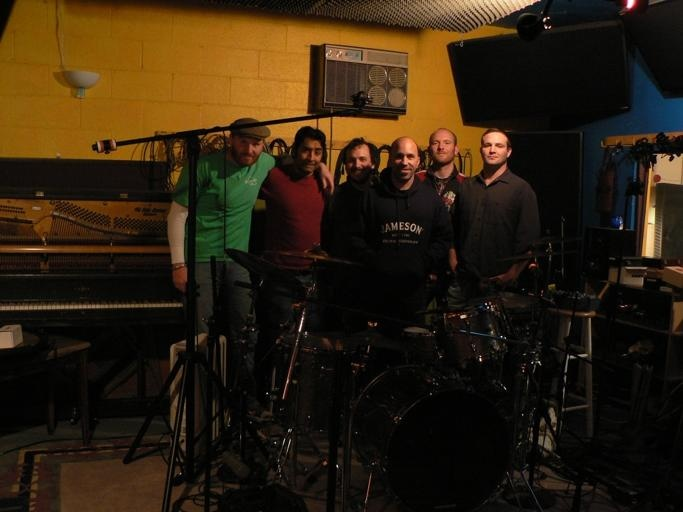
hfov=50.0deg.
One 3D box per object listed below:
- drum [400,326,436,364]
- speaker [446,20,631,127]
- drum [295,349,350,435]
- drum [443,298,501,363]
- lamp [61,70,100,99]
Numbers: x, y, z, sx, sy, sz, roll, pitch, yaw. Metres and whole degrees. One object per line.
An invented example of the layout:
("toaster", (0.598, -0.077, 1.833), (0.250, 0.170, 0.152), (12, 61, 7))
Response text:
("drum", (0.482, 0.539, 4.553), (0.248, 0.259, 0.193), (-3, 5, -9))
("speaker", (1.785, -1.550, 6.953), (1.670, 0.823, 0.993), (-7, -8, 6))
("drum", (-0.157, 0.900, 4.743), (0.375, 0.611, 0.359), (5, -1, 0))
("drum", (0.871, 0.479, 4.617), (0.312, 0.299, 0.390), (-11, -1, 28))
("lamp", (-2.156, -1.406, 6.001), (0.224, 0.167, 0.229), (-2, 5, -40))
